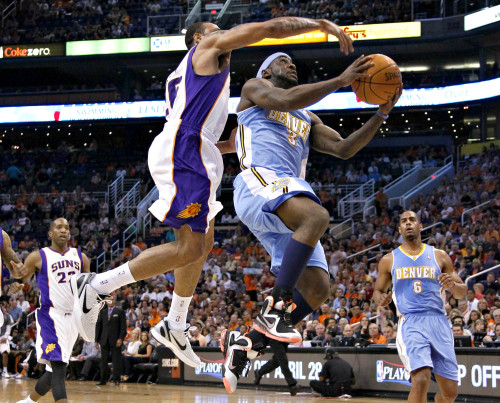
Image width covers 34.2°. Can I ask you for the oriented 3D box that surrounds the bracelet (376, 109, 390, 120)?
[{"bbox_3d":[1.997,-1.298,12.101,0.176,0.074,0.143,21,-12,0],"label":"bracelet"}]
